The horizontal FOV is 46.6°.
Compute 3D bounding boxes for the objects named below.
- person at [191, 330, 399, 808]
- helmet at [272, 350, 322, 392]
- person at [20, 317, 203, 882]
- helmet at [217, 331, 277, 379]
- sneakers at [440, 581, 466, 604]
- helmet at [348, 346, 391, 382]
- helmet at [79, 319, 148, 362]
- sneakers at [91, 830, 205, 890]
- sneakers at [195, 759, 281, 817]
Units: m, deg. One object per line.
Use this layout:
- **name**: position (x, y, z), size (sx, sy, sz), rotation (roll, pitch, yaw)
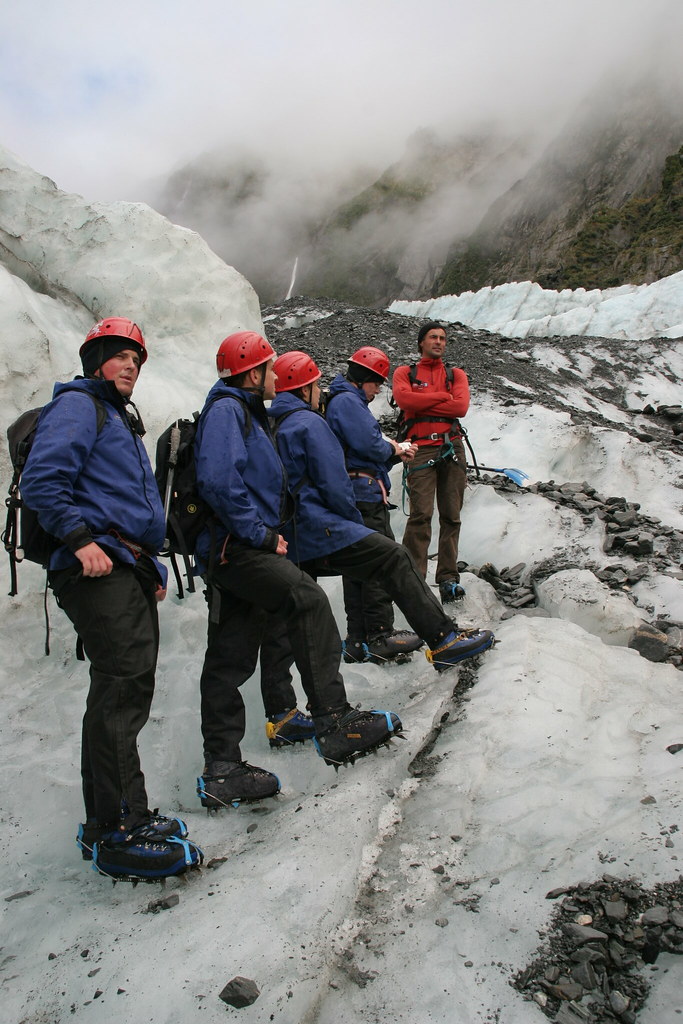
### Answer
- **person**: position (-0.256, 0.176, 3.492), size (1.099, 2.133, 0.740), rotation (-8, -15, 19)
- **helmet**: position (-0.230, -0.710, 3.989), size (0.235, 0.147, 0.189), rotation (-5, 19, -31)
- **person**: position (-0.892, 0.308, 2.984), size (0.500, 2.040, 0.793), rotation (-10, 11, -3)
- **helmet**: position (-0.439, -0.736, 3.625), size (0.247, 0.162, 0.196), rotation (-12, 28, -23)
- **sneakers**: position (0.751, 0.540, 5.424), size (0.164, 0.155, 0.119), rotation (-23, 10, 13)
- **helmet**: position (0.212, -0.877, 4.764), size (0.261, 0.157, 0.197), rotation (23, 16, -19)
- **helmet**: position (-0.925, -0.721, 3.219), size (0.229, 0.127, 0.184), rotation (2, -13, 6)
- **sneakers**: position (-0.683, 1.212, 2.824), size (0.430, 0.191, 0.165), rotation (-4, 0, 1)
- **sneakers**: position (-0.445, 1.156, 3.389), size (0.421, 0.210, 0.155), rotation (-4, -1, -20)
